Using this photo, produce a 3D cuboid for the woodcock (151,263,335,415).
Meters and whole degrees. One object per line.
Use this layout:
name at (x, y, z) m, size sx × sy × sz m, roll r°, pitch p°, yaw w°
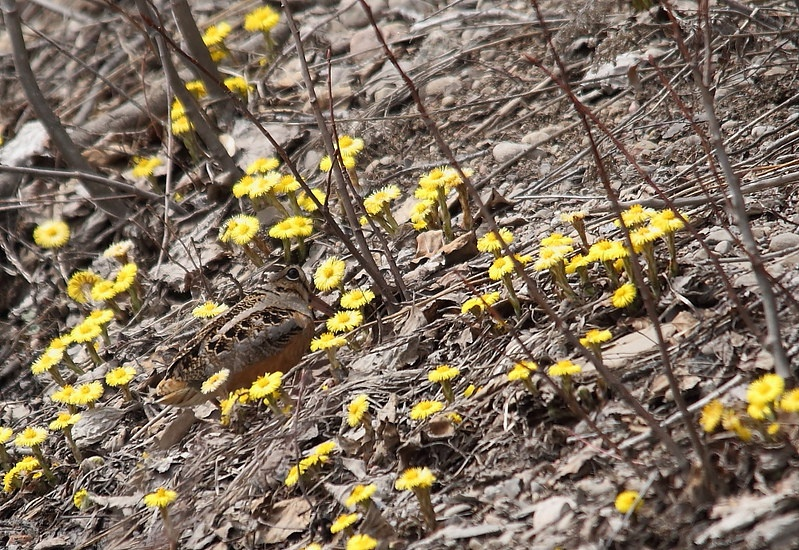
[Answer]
woodcock at (-0.962, 0.421, 5.764) m, size 1.233 × 0.901 × 0.647 m, roll -9°, pitch 3°, yaw -31°
